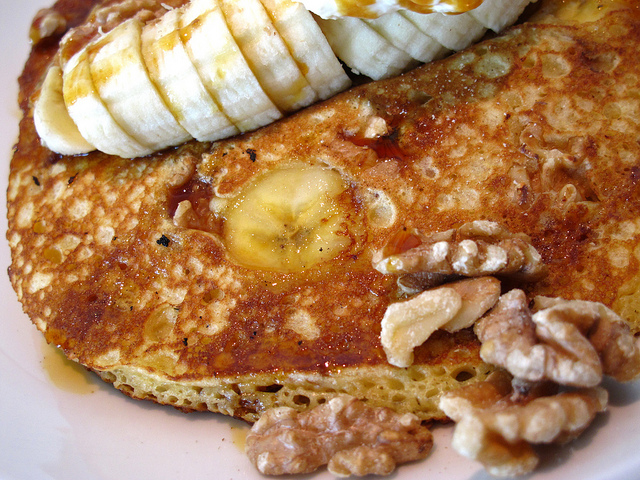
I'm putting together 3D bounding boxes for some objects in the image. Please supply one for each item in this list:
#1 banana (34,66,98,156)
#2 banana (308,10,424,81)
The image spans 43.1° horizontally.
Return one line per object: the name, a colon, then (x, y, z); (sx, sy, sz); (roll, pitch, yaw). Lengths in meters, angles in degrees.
banana: (-0.943, -0.485, 3.020); (0.220, 0.069, 0.293); (-9, 87, 44)
banana: (0.159, -0.659, 2.805); (0.239, 0.236, 0.072); (19, 68, 40)
